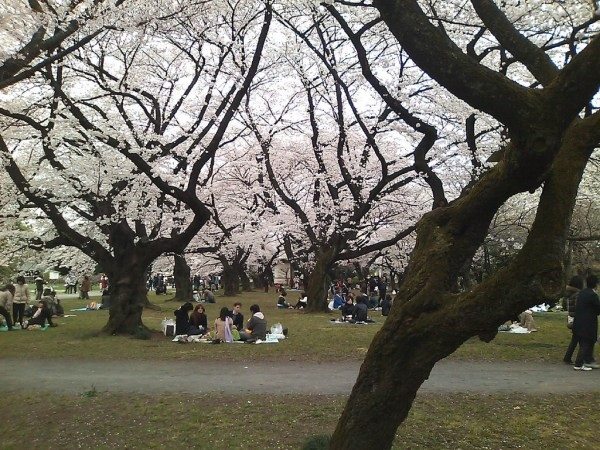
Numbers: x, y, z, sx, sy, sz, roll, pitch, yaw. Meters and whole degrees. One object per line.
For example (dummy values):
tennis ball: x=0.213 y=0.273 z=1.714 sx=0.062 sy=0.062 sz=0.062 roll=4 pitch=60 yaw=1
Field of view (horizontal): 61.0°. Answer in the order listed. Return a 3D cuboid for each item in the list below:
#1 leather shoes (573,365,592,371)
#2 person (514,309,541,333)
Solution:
leather shoes: x=5.995 y=3.057 z=10.828 sx=0.370 sy=0.124 sz=0.116 roll=-4 pitch=-17 yaw=13
person: x=7.288 y=3.092 z=16.387 sx=0.623 sy=0.700 sz=1.185 roll=-2 pitch=-9 yaw=23
